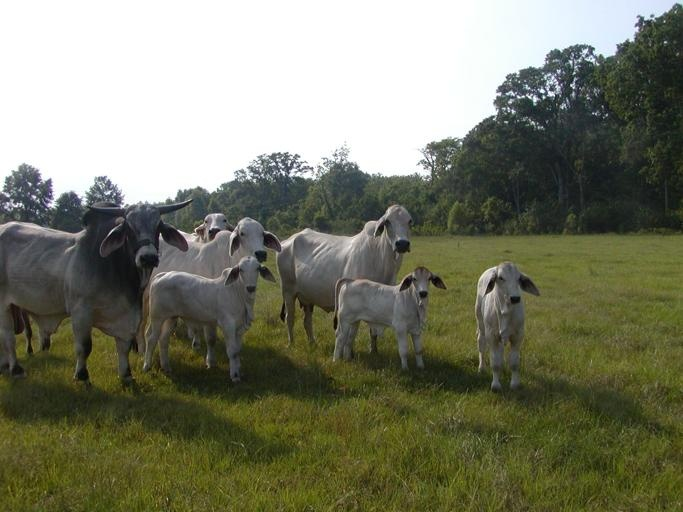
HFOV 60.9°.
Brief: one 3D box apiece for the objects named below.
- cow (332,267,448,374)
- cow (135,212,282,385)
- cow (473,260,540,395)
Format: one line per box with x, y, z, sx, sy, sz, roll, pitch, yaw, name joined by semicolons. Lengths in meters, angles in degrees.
0.775;1.131;11.670;1.978;2.053;0.691;5;12;23;cow
-2.925;0.842;12.999;3.885;4.088;1.903;-7;-7;22;cow
3.026;1.212;10.813;0.777;2.322;1.397;0;11;0;cow
